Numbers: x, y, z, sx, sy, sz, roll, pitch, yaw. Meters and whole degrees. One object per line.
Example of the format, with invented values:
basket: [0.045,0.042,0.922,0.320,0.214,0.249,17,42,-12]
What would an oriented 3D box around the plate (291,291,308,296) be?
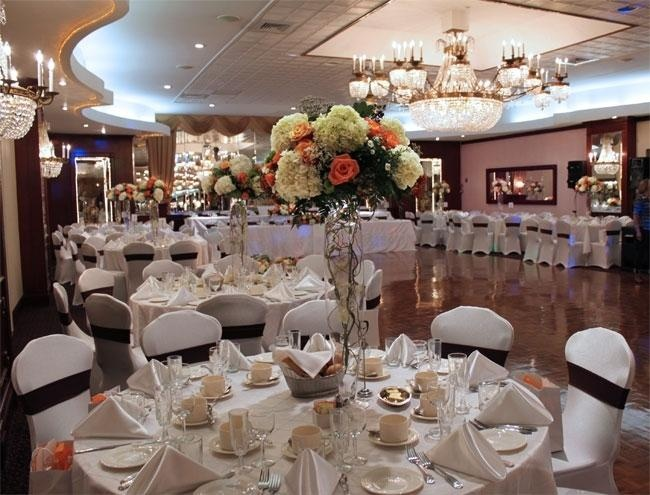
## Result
plate: [-0.253,0.435,4.734,0.131,0.014,0.156,-2,7,-4]

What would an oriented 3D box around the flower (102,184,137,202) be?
flower: [-3.931,-1.070,9.431,0.527,0.272,0.571,-2,14,-1]

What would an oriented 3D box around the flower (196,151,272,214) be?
flower: [-0.787,-0.633,4.335,0.765,0.426,0.375,3,8,35]

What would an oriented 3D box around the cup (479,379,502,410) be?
cup: [0.754,0.677,2.252,0.104,0.138,0.115,0,-3,-2]

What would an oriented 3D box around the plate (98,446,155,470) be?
plate: [-0.815,0.851,1.979,0.205,0.033,0.152,0,7,12]

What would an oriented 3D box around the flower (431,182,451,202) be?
flower: [4.684,-2.335,19.639,0.653,0.901,0.731,-7,9,-42]

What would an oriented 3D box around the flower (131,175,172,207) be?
flower: [-3.280,-1.046,9.260,0.672,0.546,0.786,-1,19,2]

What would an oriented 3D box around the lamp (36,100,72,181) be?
lamp: [-5.316,-1.970,9.045,0.618,1.160,0.685,-9,13,-18]

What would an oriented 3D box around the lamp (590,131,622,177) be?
lamp: [8.639,-2.879,14.800,0.755,1.407,0.819,4,20,31]

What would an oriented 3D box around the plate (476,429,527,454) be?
plate: [0.769,0.797,2.019,0.180,0.028,0.158,-3,7,-13]

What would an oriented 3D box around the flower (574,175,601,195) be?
flower: [6.678,-1.590,12.163,0.502,0.498,0.498,-2,6,-23]

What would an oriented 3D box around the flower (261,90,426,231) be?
flower: [0.053,-0.380,2.356,0.520,0.488,0.644,-2,7,-15]
